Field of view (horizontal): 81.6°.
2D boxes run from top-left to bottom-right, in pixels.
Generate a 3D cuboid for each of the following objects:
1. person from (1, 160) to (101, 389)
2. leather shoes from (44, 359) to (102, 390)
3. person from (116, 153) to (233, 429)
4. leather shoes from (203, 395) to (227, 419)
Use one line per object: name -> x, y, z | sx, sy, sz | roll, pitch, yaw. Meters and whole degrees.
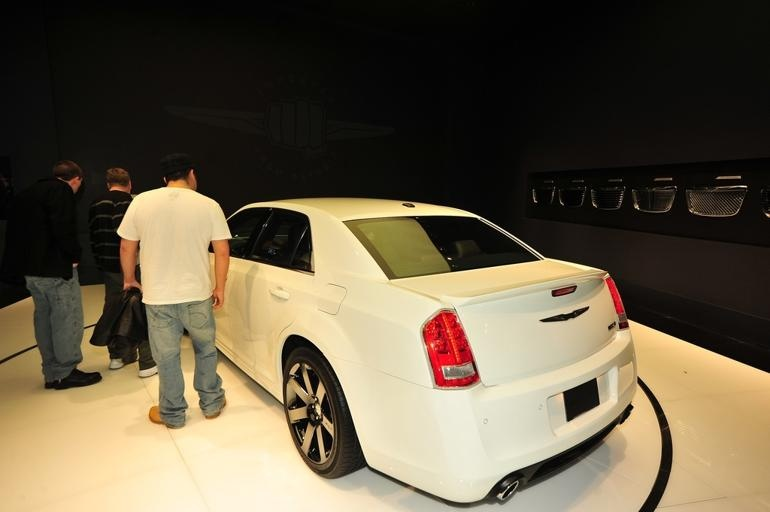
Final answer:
person -> -3.392, 0.212, 4.460 | 0.683, 2.308, 0.418 | -6, 11, -27
leather shoes -> -3.205, 1.216, 4.709 | 0.619, 0.272, 0.219 | -7, 5, -23
person -> -1.912, 0.325, 4.098 | 0.983, 2.467, 0.651 | 0, 6, -20
leather shoes -> -1.578, 1.419, 4.114 | 0.097, 0.107, 0.263 | 6, 27, 2
